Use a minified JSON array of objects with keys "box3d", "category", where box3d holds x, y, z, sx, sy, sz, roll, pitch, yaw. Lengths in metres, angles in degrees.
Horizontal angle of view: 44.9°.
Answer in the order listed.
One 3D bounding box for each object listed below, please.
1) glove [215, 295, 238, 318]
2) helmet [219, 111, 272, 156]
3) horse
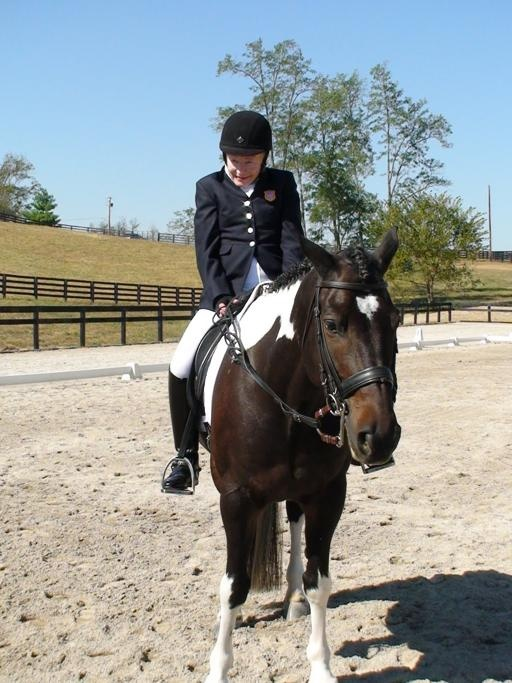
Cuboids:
[{"box3d":[-0.139,-0.155,2.804,0.048,0.100,0.198,-9,4,-10],"category":"glove"},{"box3d":[-0.030,-0.989,2.986,0.257,0.248,0.315,6,22,1],"category":"helmet"},{"box3d":[0.115,0.497,2.335,0.671,1.777,1.415,0,5,-6],"category":"horse"}]
